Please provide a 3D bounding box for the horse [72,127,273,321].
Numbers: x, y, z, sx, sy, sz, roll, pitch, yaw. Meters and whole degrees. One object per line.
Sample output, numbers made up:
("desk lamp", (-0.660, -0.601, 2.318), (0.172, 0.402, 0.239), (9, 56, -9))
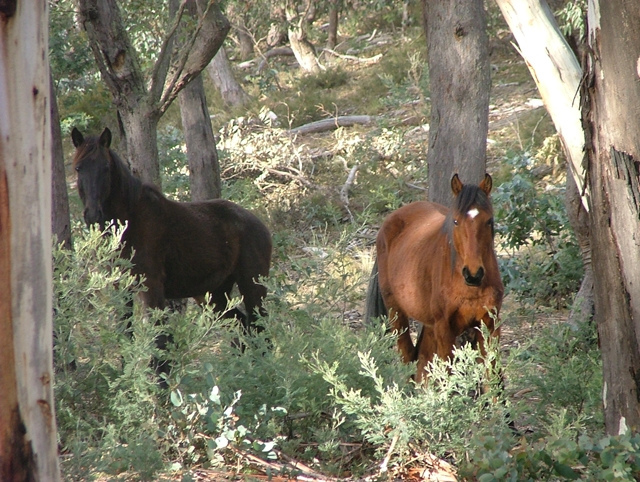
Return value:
("horse", (-1.251, 0.224, 7.317), (0.654, 1.826, 2.452), (-2, -11, 40))
